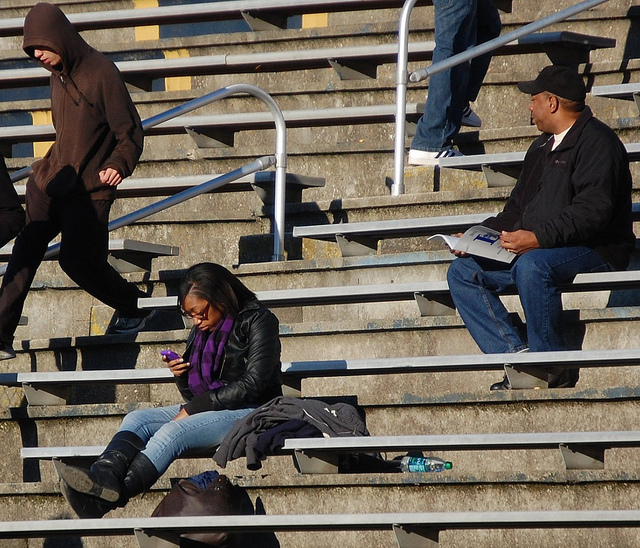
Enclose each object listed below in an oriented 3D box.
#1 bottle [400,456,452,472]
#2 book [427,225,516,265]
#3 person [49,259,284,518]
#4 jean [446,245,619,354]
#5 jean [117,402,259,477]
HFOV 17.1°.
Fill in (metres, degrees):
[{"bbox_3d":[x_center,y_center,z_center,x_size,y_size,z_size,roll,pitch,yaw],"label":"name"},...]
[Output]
[{"bbox_3d":[0.552,1.021,11.302,0.275,0.077,0.136,-2,20,10],"label":"bottle"},{"bbox_3d":[0.862,-0.161,11.601,0.285,0.083,0.206,22,33,21],"label":"book"},{"bbox_3d":[-0.810,0.552,11.402,0.705,1.095,1.629,-8,9,42],"label":"person"},{"bbox_3d":[1.098,0.129,11.634,0.861,0.540,0.599,4,22,25],"label":"jean"},{"bbox_3d":[-0.736,0.830,11.286,0.601,0.168,0.349,-17,26,-31],"label":"jean"}]
